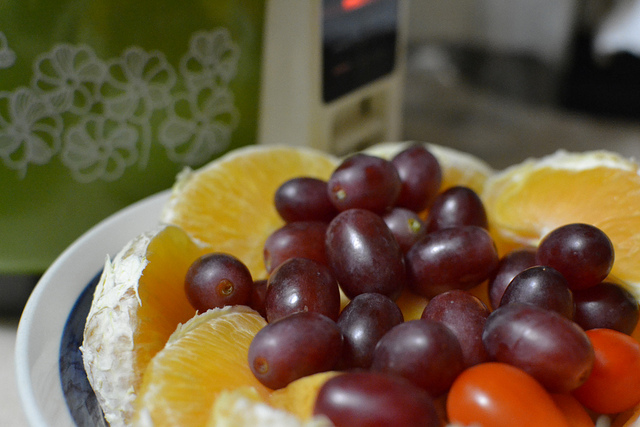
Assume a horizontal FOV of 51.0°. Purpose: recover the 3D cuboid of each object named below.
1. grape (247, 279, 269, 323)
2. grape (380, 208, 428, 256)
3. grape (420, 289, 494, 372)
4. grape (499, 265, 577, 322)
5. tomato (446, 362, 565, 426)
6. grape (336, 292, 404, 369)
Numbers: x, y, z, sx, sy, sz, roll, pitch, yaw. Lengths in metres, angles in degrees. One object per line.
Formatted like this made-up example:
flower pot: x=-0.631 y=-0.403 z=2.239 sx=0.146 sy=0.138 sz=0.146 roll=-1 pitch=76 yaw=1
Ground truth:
grape: x=-0.089 y=0.121 z=0.948 sx=0.033 sy=0.026 sz=0.044 roll=0 pitch=43 yaw=-16
grape: x=0.130 y=0.033 z=1.011 sx=0.057 sy=0.062 sz=0.069 roll=16 pitch=46 yaw=42
grape: x=0.175 y=0.135 z=0.852 sx=0.085 sy=0.089 sz=0.077 roll=2 pitch=14 yaw=19
grape: x=0.282 y=0.099 z=0.893 sx=0.064 sy=0.071 sz=0.091 roll=19 pitch=23 yaw=39
tomato: x=0.216 y=0.214 z=0.772 sx=0.133 sy=0.043 sz=0.068 roll=8 pitch=48 yaw=9
grape: x=0.061 y=0.143 z=0.895 sx=0.087 sy=0.084 sz=0.073 roll=26 pitch=24 yaw=36
